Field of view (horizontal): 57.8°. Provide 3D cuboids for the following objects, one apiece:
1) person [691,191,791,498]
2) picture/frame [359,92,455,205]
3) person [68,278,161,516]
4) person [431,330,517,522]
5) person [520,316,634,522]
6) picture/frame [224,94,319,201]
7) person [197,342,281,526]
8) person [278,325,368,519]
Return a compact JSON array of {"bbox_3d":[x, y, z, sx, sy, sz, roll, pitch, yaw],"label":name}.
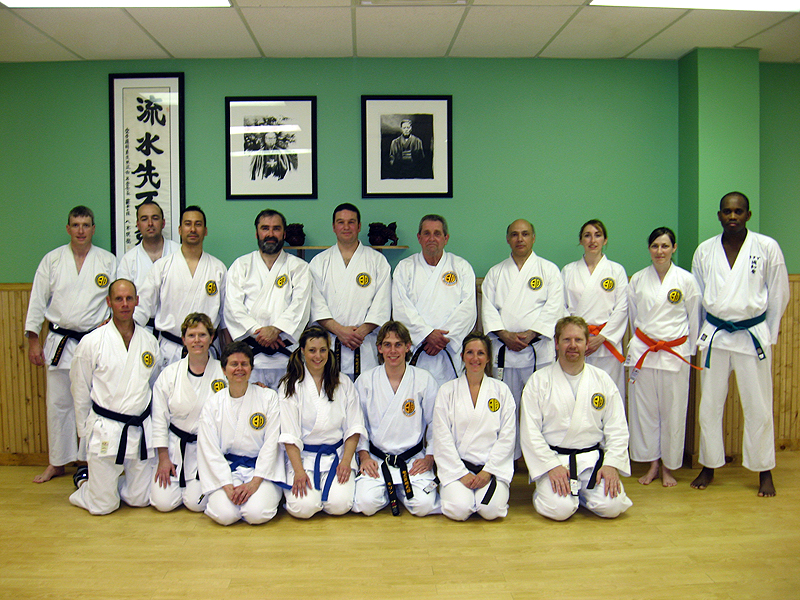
[{"bbox_3d":[2.679,0.324,5.787,0.706,2.342,0.545,2,4,27],"label":"person"},{"bbox_3d":[0.026,-1.418,6.633,0.979,1.030,0.036,0,1,2],"label":"picture/frame"},{"bbox_3d":[-2.170,0.746,5.614,0.697,1.797,0.683,-7,16,-41],"label":"person"},{"bbox_3d":[0.541,0.932,5.349,0.596,1.296,0.397,1,4,6],"label":"person"},{"bbox_3d":[1.292,0.860,5.340,0.811,1.448,0.389,1,4,10],"label":"person"},{"bbox_3d":[-1.187,-1.425,6.598,0.882,0.974,0.033,1,0,-3],"label":"picture/frame"},{"bbox_3d":[-1.153,0.961,5.261,0.608,1.274,0.365,0,4,-16],"label":"person"},{"bbox_3d":[-0.584,0.890,5.400,0.638,1.358,0.423,0,4,-10],"label":"person"}]
